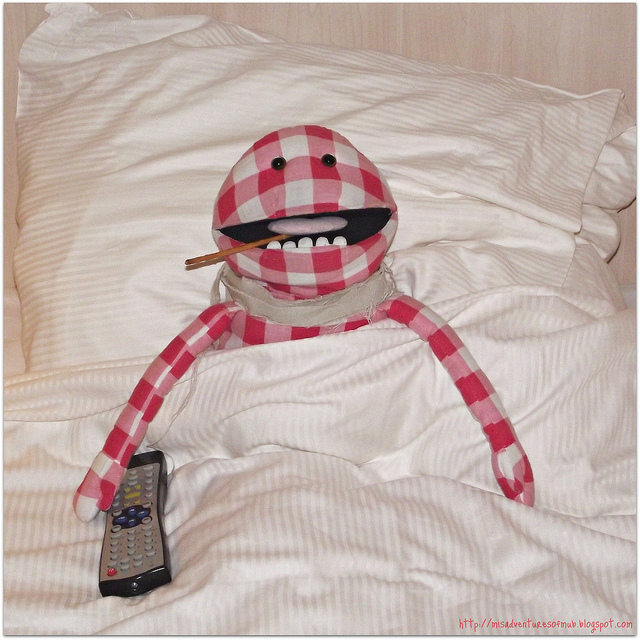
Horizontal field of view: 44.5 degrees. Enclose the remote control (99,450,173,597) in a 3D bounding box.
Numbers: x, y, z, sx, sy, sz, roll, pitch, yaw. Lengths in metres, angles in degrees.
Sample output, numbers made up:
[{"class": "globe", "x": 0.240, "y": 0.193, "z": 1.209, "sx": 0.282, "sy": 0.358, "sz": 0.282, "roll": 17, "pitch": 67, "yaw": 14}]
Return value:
[{"class": "remote control", "x": -0.248, "y": 0.271, "z": 1.068, "sx": 0.087, "sy": 0.043, "sz": 0.226, "roll": -14, "pitch": 35, "yaw": -2}]
